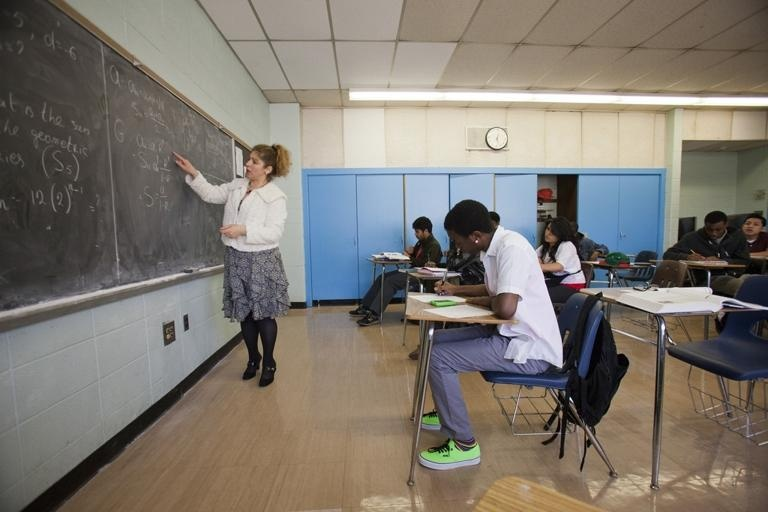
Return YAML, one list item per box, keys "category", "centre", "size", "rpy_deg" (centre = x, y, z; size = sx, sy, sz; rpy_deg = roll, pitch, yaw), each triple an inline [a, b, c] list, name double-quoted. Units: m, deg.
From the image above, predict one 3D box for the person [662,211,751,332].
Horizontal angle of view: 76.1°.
- category: "person"
  centre: [3.791, 0.026, 5.674]
  size: [0.828, 1.075, 0.708]
  rpy_deg: [-2, 4, 19]

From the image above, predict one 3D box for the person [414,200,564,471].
- category: "person"
  centre: [0.783, 0.552, 3.708]
  size: [1.181, 1.830, 0.841]
  rpy_deg: [1, 5, 10]

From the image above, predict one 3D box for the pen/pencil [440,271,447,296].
- category: "pen/pencil"
  centre: [0.526, 0.237, 4.306]
  size: [0.018, 0.177, 0.018]
  rpy_deg: [3, -12, 22]

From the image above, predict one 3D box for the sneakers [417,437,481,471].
- category: "sneakers"
  centre: [0.473, 1.438, 3.597]
  size: [0.454, 0.195, 0.183]
  rpy_deg: [1, -1, -3]

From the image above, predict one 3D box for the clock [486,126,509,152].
- category: "clock"
  centre: [1.710, -1.767, 7.382]
  size: [0.358, 0.344, 0.104]
  rpy_deg: [-3, 11, -14]

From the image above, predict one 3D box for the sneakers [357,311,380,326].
- category: "sneakers"
  centre: [-0.191, 0.780, 6.163]
  size: [0.277, 0.138, 0.230]
  rpy_deg: [-3, 10, -14]

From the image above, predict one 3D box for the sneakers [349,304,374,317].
- category: "sneakers"
  centre: [-0.304, 0.735, 6.619]
  size: [0.348, 0.149, 0.142]
  rpy_deg: [0, 0, 5]

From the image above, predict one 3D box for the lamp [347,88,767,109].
- category: "lamp"
  centre: [2.444, -2.223, 6.921]
  size: [5.771, 0.169, 0.624]
  rpy_deg: [-1, 10, -3]

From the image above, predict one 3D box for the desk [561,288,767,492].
- category: "desk"
  centre: [2.088, 0.941, 4.110]
  size: [1.258, 1.541, 1.651]
  rpy_deg: [-3, 4, -3]

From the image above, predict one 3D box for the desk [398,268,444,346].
- category: "desk"
  centre: [0.355, 0.468, 4.561]
  size: [0.342, 0.716, 0.791]
  rpy_deg: [0, 3, 0]

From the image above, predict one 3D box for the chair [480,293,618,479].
- category: "chair"
  centre: [1.110, 0.943, 4.112]
  size: [1.224, 1.555, 1.149]
  rpy_deg: [0, -1, 4]

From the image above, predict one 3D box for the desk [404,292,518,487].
- category: "desk"
  centre: [0.530, 1.028, 4.013]
  size: [1.061, 1.338, 1.385]
  rpy_deg: [1, 3, -5]

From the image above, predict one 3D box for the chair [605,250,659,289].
- category: "chair"
  centre: [3.073, 0.162, 6.045]
  size: [0.453, 0.652, 0.522]
  rpy_deg: [0, 4, -8]

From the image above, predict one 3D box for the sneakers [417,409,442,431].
- category: "sneakers"
  centre: [0.318, 1.299, 3.866]
  size: [0.299, 0.130, 0.112]
  rpy_deg: [3, -6, -2]

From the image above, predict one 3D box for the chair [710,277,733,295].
- category: "chair"
  centre: [3.645, 0.312, 5.264]
  size: [0.331, 0.110, 0.220]
  rpy_deg: [-3, 3, -42]
